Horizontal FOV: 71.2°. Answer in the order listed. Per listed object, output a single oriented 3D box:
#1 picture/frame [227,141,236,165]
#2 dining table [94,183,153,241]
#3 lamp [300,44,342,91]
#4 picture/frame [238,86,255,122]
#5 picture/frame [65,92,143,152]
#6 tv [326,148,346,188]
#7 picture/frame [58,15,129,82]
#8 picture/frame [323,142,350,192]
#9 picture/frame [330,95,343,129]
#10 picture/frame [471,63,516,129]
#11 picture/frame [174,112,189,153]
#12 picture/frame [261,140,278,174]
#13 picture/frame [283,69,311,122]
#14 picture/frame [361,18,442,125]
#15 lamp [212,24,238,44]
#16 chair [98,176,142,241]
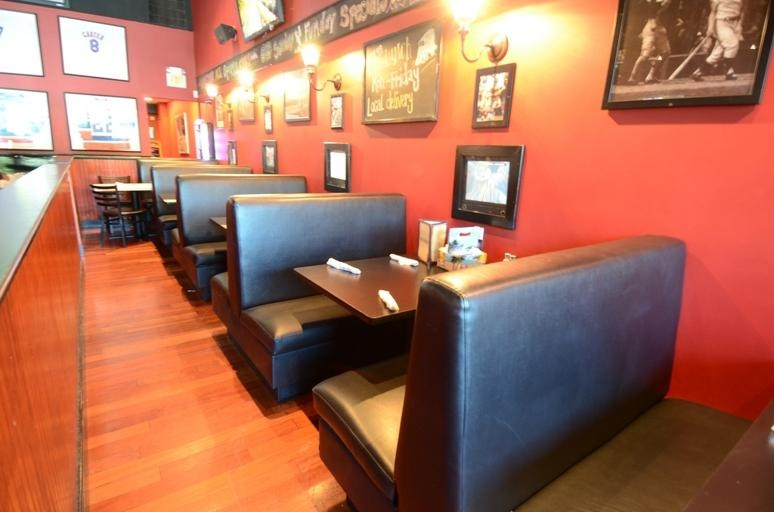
[{"bbox_3d":[-2.300,-1.531,8.019,0.043,0.415,0.316,-10,22,-33],"label":"picture/frame"},{"bbox_3d":[-3.613,-0.595,7.447,0.572,0.796,0.608,21,27,33],"label":"dining table"},{"bbox_3d":[-0.707,-1.864,5.357,0.353,0.467,0.608,-7,18,-22],"label":"lamp"},{"bbox_3d":[-1.892,-2.057,7.315,0.081,0.609,0.532,-8,12,-37],"label":"picture/frame"},{"bbox_3d":[-4.764,-2.252,8.983,1.054,0.871,0.067,-10,18,-43],"label":"picture/frame"},{"bbox_3d":[-0.498,-0.887,5.413,0.043,0.394,0.391,-6,12,-33],"label":"tv"},{"bbox_3d":[-4.758,-3.345,8.659,1.167,0.994,0.112,-7,15,-43],"label":"picture/frame"},{"bbox_3d":[-0.495,-0.891,5.401,0.040,0.502,0.495,-8,14,-36],"label":"picture/frame"},{"bbox_3d":[-0.489,-1.419,5.309,0.046,0.340,0.322,-5,10,-31],"label":"picture/frame"},{"bbox_3d":[0.787,-1.161,3.913,0.041,0.514,0.422,-8,18,-38],"label":"picture/frame"},{"bbox_3d":[-4.268,-2.590,11.251,0.093,0.857,0.720,-8,22,-29],"label":"picture/frame"},{"bbox_3d":[-1.460,-1.238,6.758,0.034,0.448,0.444,-4,8,-30],"label":"picture/frame"},{"bbox_3d":[-0.975,-1.767,5.950,0.045,0.602,0.626,-6,12,-39],"label":"picture/frame"},{"bbox_3d":[0.149,-1.539,4.486,0.075,0.744,1.010,-5,9,-36],"label":"picture/frame"},{"bbox_3d":[-2.313,-3.205,7.779,0.185,0.231,0.598,-9,18,-26],"label":"lamp"},{"bbox_3d":[-3.685,-0.633,7.454,0.633,0.801,0.558,31,35,35],"label":"chair"}]
